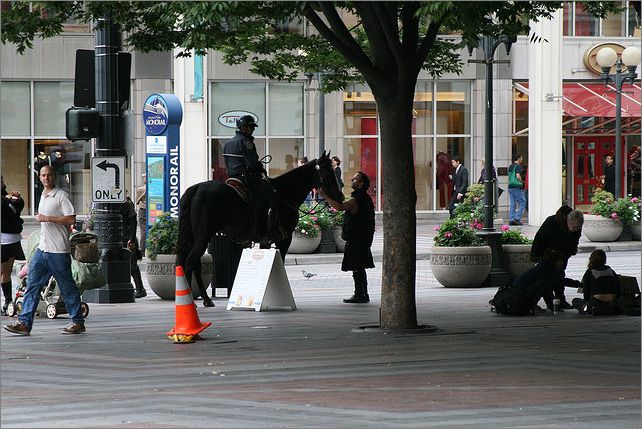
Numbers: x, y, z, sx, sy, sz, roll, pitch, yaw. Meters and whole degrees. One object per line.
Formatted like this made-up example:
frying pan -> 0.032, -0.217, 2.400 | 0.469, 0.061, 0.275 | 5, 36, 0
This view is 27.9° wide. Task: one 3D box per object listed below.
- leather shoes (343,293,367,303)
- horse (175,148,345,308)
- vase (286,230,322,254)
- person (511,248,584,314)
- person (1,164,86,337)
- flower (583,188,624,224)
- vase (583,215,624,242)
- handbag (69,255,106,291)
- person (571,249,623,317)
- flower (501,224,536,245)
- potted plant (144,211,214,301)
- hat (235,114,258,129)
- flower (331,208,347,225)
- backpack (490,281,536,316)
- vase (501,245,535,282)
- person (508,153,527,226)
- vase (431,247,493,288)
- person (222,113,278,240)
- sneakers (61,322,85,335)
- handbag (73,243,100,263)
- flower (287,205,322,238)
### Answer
leather shoes -> 0.749, 1.798, 27.535 | 0.522, 0.191, 0.177 | 2, 1, 0
horse -> -1.213, 0.451, 28.347 | 4.793, 3.450, 1.384 | 0, -2, -27
vase -> -0.433, 0.738, 35.323 | 0.740, 0.429, 0.681 | 2, 0, -3
person -> 4.630, 1.305, 26.304 | 1.589, 1.083, 0.797 | -1, 6, 3
person -> -5.169, 0.685, 24.311 | 1.273, 3.142, 1.131 | -4, 12, -11
flower -> 8.227, -0.266, 37.493 | 0.960, 0.765, 0.988 | -6, 1, 9
vase -> 8.114, 0.394, 37.455 | 1.000, 0.546, 0.918 | 2, -6, -2
handbag -> -4.699, 1.182, 25.930 | 0.871, 0.722, 0.467 | -8, -2, -33
person -> 5.572, 1.377, 25.812 | 0.762, 1.240, 0.576 | -6, 13, -22
flower -> 4.585, 0.446, 30.033 | 0.704, 0.336, 0.539 | 5, -1, -44
potted plant -> -3.432, 0.926, 28.586 | 1.925, 2.122, 1.768 | 1, 3, -11
hat -> -1.471, -1.908, 26.186 | 0.413, 0.183, 0.282 | -1, 4, -10
flower -> 0.453, 0.090, 35.651 | 0.432, 0.347, 0.413 | 1, 4, -31
backpack -> 3.772, 1.823, 26.101 | 0.927, 0.354, 0.724 | -21, -30, 18
vase -> 4.524, 1.078, 29.650 | 0.874, 0.531, 0.803 | 0, -6, -5
person -> 6.517, -0.814, 42.821 | 0.559, 2.392, 1.457 | 0, 12, 8
vase -> 3.149, 1.161, 29.482 | 1.175, 0.669, 1.080 | 1, -5, -4
person -> -1.391, -0.788, 26.478 | 1.305, 2.421, 0.967 | 6, -4, -26
sneakers -> -4.625, 2.136, 24.217 | 0.429, 0.217, 0.241 | -3, 11, -12
handbag -> -4.639, 0.772, 25.780 | 0.372, 0.404, 0.640 | -2, -2, 44
flower -> -0.394, 0.191, 34.912 | 0.961, 0.694, 0.845 | -2, 6, 0
